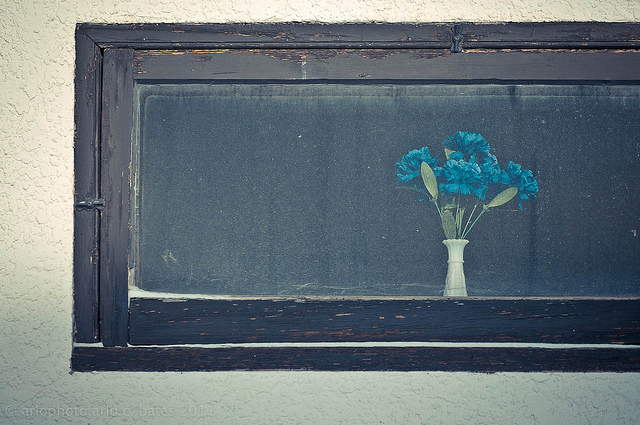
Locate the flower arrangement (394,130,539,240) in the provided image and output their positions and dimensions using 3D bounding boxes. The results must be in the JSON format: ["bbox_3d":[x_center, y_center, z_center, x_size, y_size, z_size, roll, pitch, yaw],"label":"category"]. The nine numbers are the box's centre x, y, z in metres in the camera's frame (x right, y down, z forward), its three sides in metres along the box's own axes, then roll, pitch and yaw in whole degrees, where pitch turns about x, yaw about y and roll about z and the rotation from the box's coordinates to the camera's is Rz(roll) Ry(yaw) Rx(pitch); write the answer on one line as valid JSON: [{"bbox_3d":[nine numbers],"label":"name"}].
[{"bbox_3d":[0.702,-0.134,4.454,0.452,0.481,0.719,12,-6,-37],"label":"flower arrangement"}]
